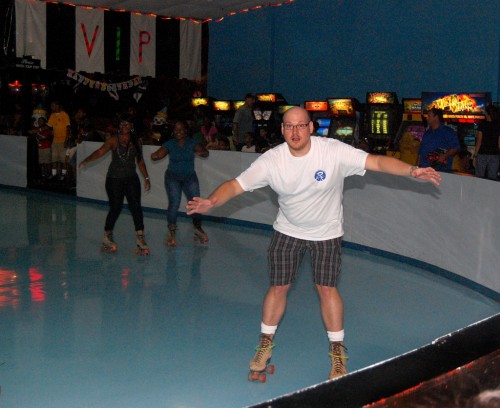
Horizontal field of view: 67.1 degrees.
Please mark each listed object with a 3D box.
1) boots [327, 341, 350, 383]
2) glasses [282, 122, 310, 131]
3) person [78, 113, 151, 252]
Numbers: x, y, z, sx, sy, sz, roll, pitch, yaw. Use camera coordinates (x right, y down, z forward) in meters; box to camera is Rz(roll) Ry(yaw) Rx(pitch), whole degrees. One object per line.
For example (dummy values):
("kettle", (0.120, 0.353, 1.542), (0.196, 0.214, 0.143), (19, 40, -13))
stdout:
("boots", (0.700, 1.231, 2.984), (0.135, 0.227, 0.406), (-8, 3, 15))
("glasses", (0.356, -0.593, 2.883), (0.176, 0.056, 0.085), (3, 10, 8))
("person", (-2.133, -0.306, 5.917), (0.990, 2.117, 0.647), (-1, 20, -24))
